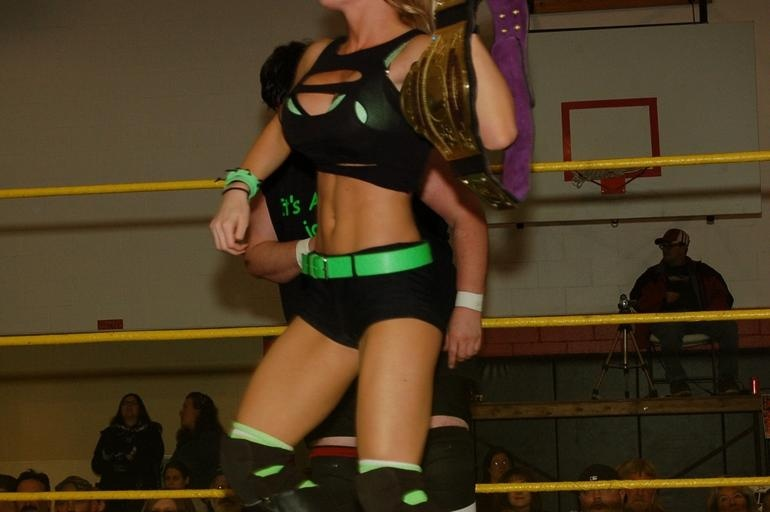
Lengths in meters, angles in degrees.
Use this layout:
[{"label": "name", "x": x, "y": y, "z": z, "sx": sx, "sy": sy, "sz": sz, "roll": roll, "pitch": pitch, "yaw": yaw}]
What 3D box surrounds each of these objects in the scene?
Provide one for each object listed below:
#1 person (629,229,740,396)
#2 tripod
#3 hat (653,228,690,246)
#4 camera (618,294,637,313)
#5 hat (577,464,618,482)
[{"label": "person", "x": 2.998, "y": 0.548, "z": 12.443, "sx": 1.075, "sy": 1.657, "sz": 0.268, "roll": 1, "pitch": -1, "yaw": 13}, {"label": "tripod", "x": 2.460, "y": 1.102, "z": 12.954, "sx": 0.733, "sy": 1.026, "sz": 0.793, "roll": 3, "pitch": -7, "yaw": 17}, {"label": "hat", "x": 2.899, "y": -0.188, "z": 12.511, "sx": 0.281, "sy": 0.142, "sz": 0.170, "roll": 5, "pitch": -4, "yaw": 9}, {"label": "camera", "x": 2.414, "y": 0.470, "z": 12.462, "sx": 0.140, "sy": 0.178, "sz": 0.167, "roll": -12, "pitch": -17, "yaw": 15}, {"label": "hat", "x": 2.095, "y": 2.128, "z": 12.144, "sx": 0.378, "sy": 0.092, "sz": 0.324, "roll": 0, "pitch": -7, "yaw": -29}]
